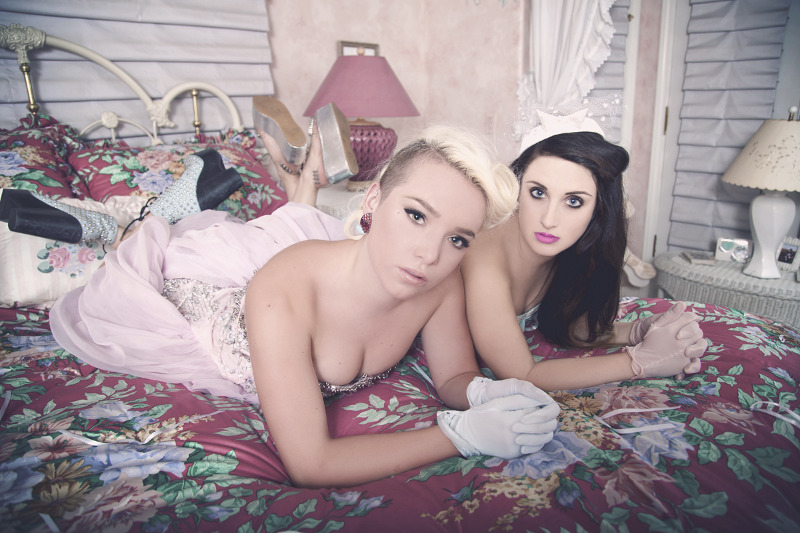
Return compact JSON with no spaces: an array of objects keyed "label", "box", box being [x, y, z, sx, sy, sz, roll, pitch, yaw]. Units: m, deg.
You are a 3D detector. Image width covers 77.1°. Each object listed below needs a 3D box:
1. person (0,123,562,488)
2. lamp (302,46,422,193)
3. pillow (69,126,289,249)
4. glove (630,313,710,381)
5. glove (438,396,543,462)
[{"label":"person","box":[-0.348,0.120,1.659,1.653,0.823,1.024,30,28,25]},{"label":"lamp","box":[-0.263,-0.959,3.279,0.701,0.865,0.706,2,11,10]},{"label":"pillow","box":[-1.224,-0.391,2.609,0.830,0.235,1.020,11,23,-26]},{"label":"glove","box":[0.978,0.278,1.799,0.125,0.254,0.305,35,-32,-18]},{"label":"glove","box":[0.293,0.454,1.524,0.239,0.108,0.194,0,2,43]}]
